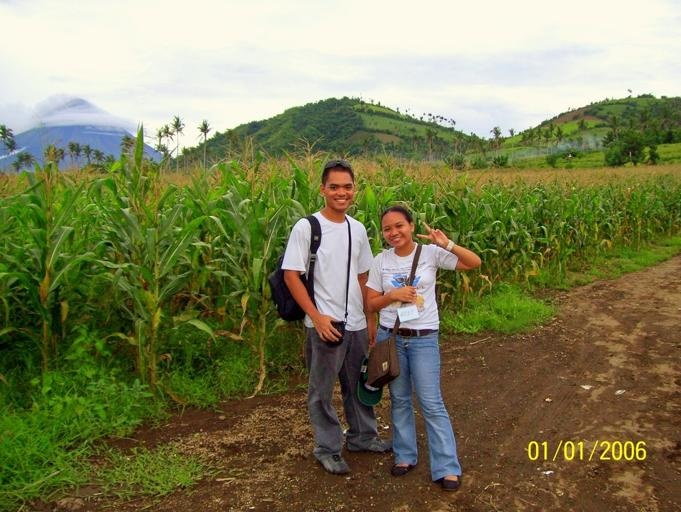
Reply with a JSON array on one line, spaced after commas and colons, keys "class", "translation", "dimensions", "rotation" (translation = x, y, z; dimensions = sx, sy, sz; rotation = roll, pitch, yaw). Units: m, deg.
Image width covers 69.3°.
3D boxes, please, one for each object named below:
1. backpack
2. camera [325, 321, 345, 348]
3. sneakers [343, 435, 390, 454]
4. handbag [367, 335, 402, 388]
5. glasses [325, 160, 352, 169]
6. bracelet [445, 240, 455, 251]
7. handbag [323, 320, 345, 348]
[{"class": "backpack", "translation": [-0.415, 0.133, 4.608], "dimensions": [0.512, 1.019, 0.315], "rotation": [-1, 9, -2]}, {"class": "camera", "translation": [-0.048, 0.725, 4.508], "dimensions": [0.153, 0.229, 0.166], "rotation": [9, -17, -17]}, {"class": "sneakers", "translation": [0.272, 1.884, 4.995], "dimensions": [0.477, 0.218, 0.170], "rotation": [-2, -4, 1]}, {"class": "handbag", "translation": [0.421, 0.989, 4.558], "dimensions": [0.141, 0.376, 0.370], "rotation": [17, -32, -23]}, {"class": "glasses", "translation": [-0.022, -0.866, 4.673], "dimensions": [0.228, 0.089, 0.387], "rotation": [-1, 8, 0]}, {"class": "bracelet", "translation": [1.032, -0.094, 4.602], "dimensions": [0.081, 0.066, 0.084], "rotation": [-9, -2, 27]}, {"class": "handbag", "translation": [-0.041, 0.705, 4.476], "dimensions": [0.099, 0.235, 0.170], "rotation": [4, 2, -1]}]
